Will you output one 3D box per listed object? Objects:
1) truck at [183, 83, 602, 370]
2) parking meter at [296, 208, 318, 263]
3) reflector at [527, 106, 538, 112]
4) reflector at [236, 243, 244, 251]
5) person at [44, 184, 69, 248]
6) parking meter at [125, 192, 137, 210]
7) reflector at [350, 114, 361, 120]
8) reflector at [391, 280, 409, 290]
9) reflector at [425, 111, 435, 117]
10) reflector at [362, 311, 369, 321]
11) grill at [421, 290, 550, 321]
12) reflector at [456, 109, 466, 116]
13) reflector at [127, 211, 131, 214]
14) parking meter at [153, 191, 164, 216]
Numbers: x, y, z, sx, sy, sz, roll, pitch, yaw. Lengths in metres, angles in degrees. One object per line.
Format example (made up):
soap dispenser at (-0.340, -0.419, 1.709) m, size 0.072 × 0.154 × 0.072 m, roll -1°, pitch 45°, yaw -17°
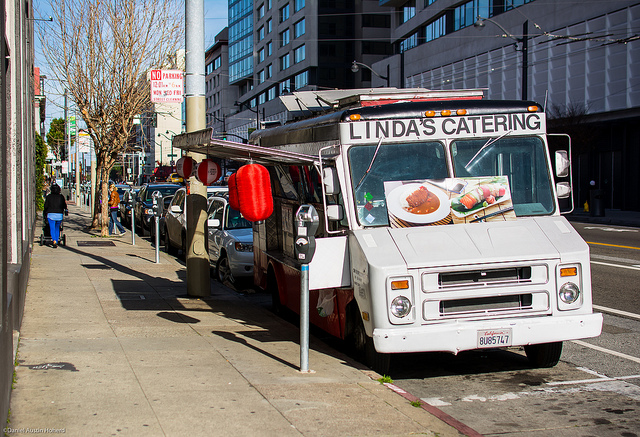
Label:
truck at (1.452, 0.026, 8.718) m, size 4.682 × 4.116 × 2.761 m, roll 4°, pitch 4°, yaw 27°
parking meter at (-0.164, 0.188, 7.810) m, size 0.245 × 0.618 × 0.165 m, roll 2°, pitch 4°, yaw -3°
reflector at (3.005, -1.549, 8.801) m, size 0.156 × 0.086 × 0.029 m, roll 1°, pitch 4°, yaw -22°
reflector at (-1.816, 0.625, 14.152) m, size 0.141 × 0.171 × 0.067 m, roll 3°, pitch 4°, yaw 4°
person at (-8.741, -0.142, 20.539) m, size 0.665 × 2.038 × 1.452 m, roll 1°, pitch 4°, yaw -24°
parking meter at (-7.901, -0.779, 26.003) m, size 0.261 × 1.022 × 1.024 m, roll 3°, pitch -3°, yaw -35°
reflector at (0.468, -1.370, 8.371) m, size 0.136 × 0.070 × 0.027 m, roll 2°, pitch 4°, yaw -1°
reflector at (0.986, 0.805, 7.655) m, size 0.218 × 0.110 × 0.009 m, roll 2°, pitch 4°, yaw -10°
reflector at (1.507, -1.441, 8.542) m, size 0.080 × 0.084 × 0.026 m, roll 2°, pitch -13°, yaw 1°
reflector at (0.578, 1.221, 7.911) m, size 0.020 × 0.106 × 0.145 m, roll -5°, pitch 1°, yaw -22°
grill at (2.087, 1.088, 7.862) m, size 2.093 × 0.457 × 0.309 m, roll -1°, pitch -8°, yaw -11°
reflector at (1.945, -1.469, 8.597) m, size 0.089 × 0.094 × 0.022 m, roll 3°, pitch -19°, yaw -4°
reflector at (-9.151, -0.322, 29.896) m, size 0.190 × 0.165 × 0.291 m, roll 2°, pitch -1°, yaw -4°
parking meter at (-4.548, -0.417, 17.427) m, size 0.300 × 0.231 × 0.955 m, roll 14°, pitch 31°, yaw -8°
